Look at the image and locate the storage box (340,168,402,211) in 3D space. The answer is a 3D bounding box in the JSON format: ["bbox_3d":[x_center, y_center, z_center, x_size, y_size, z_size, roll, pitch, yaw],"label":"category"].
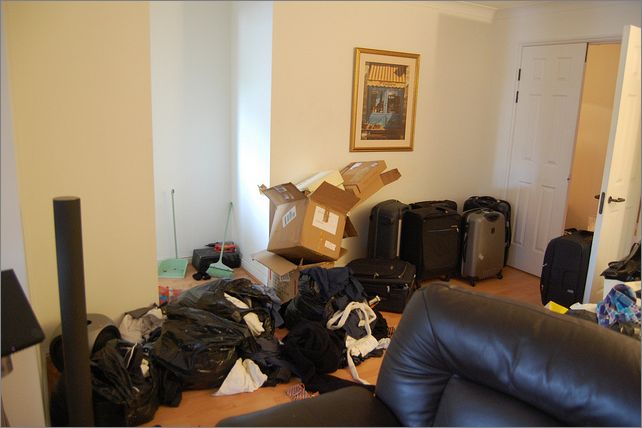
[{"bbox_3d":[0.516,-0.330,4.705,0.465,0.135,0.502,-36,29,-6],"label":"storage box"}]

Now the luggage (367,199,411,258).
[{"bbox_3d":[0.743,0.168,5.007,0.367,0.707,0.462,22,23,40],"label":"luggage"}]

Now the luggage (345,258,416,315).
[{"bbox_3d":[0.613,0.678,4.805,0.722,0.389,0.609,5,20,23],"label":"luggage"}]

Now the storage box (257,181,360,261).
[{"bbox_3d":[-0.136,0.082,4.343,0.767,0.559,0.794,30,-25,-22],"label":"storage box"}]
